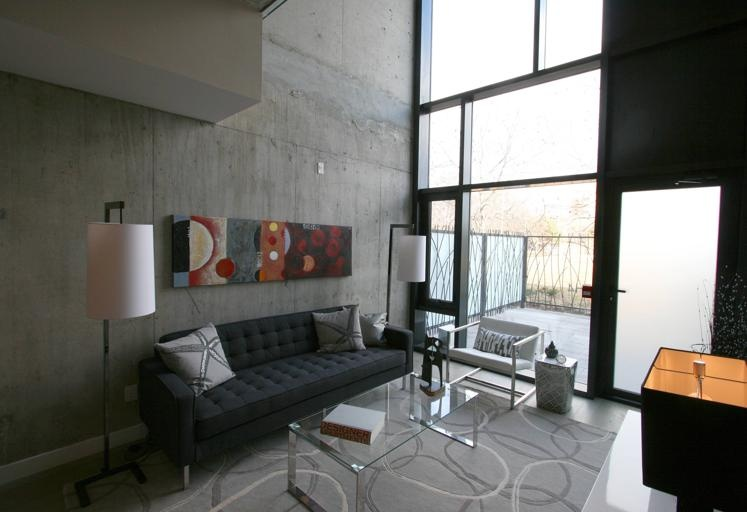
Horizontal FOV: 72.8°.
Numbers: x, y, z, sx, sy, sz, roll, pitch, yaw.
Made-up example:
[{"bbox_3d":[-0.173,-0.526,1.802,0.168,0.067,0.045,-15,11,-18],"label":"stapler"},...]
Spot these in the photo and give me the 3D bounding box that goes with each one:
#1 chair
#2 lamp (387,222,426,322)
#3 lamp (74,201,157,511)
[{"bbox_3d":[1.429,1.170,5.920,0.733,0.802,0.946,-8,9,-38],"label":"chair"},{"bbox_3d":[0.422,0.271,6.464,0.467,1.373,1.183,1,5,2],"label":"lamp"},{"bbox_3d":[-2.195,0.785,4.326,0.636,2.490,0.610,2,5,8],"label":"lamp"}]
